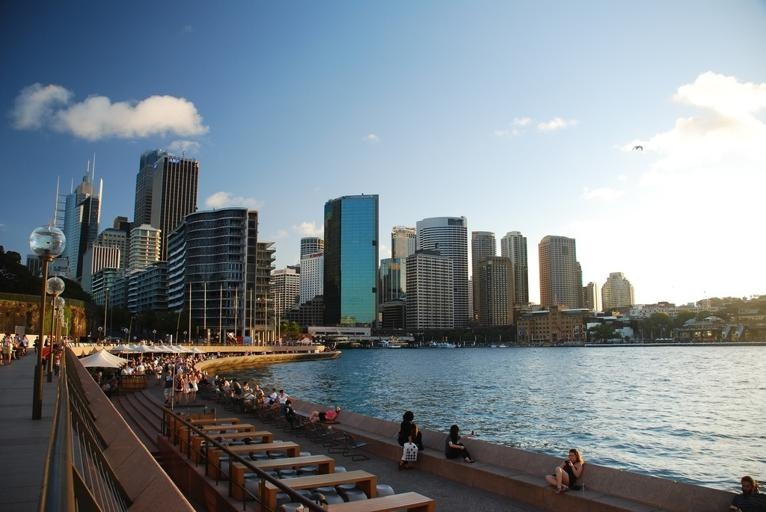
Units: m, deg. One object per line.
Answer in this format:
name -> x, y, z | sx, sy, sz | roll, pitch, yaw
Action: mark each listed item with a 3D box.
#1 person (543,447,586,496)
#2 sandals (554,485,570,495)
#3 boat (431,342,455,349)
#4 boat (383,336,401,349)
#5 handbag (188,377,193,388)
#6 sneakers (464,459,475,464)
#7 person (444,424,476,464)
person -> 6.488, 7.647, 23.395 | 1.383, 1.399, 0.982 | 12, -7, -34
sandals -> 6.309, 8.309, 23.019 | 0.527, 0.199, 0.187 | -11, -21, 22
boat -> 27.866, 42.251, 308.146 | 10.517, 2.922, 9.571 | -4, -9, 10
boat -> 3.738, 40.286, 301.799 | 7.431, 5.432, 18.001 | -4, -9, 11
handbag -> -13.226, 8.850, 44.798 | 0.422, 0.572, 0.194 | -12, -6, 27
sneakers -> 3.385, 8.154, 25.770 | 0.495, 0.183, 0.149 | -1, -6, 6
person -> 3.002, 7.576, 26.176 | 1.103, 1.382, 0.800 | -3, -9, 6
